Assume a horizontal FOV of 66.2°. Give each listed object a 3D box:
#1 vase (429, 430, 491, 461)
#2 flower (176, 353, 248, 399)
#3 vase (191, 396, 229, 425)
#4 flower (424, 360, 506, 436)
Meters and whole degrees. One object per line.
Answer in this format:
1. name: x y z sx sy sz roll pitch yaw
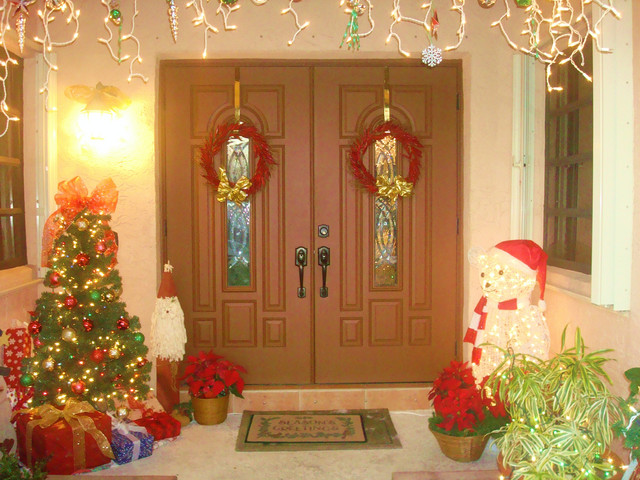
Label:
1. vase: 0.933 1.355 3.219 0.341 0.154 0.344 -17 -22 36
2. flower: -0.788 0.989 3.645 0.375 0.238 0.382 7 18 3
3. vase: -0.803 1.220 3.548 0.235 0.165 0.231 1 -2 -4
4. flower: 0.873 0.983 3.162 0.444 0.447 0.443 4 -8 -26
